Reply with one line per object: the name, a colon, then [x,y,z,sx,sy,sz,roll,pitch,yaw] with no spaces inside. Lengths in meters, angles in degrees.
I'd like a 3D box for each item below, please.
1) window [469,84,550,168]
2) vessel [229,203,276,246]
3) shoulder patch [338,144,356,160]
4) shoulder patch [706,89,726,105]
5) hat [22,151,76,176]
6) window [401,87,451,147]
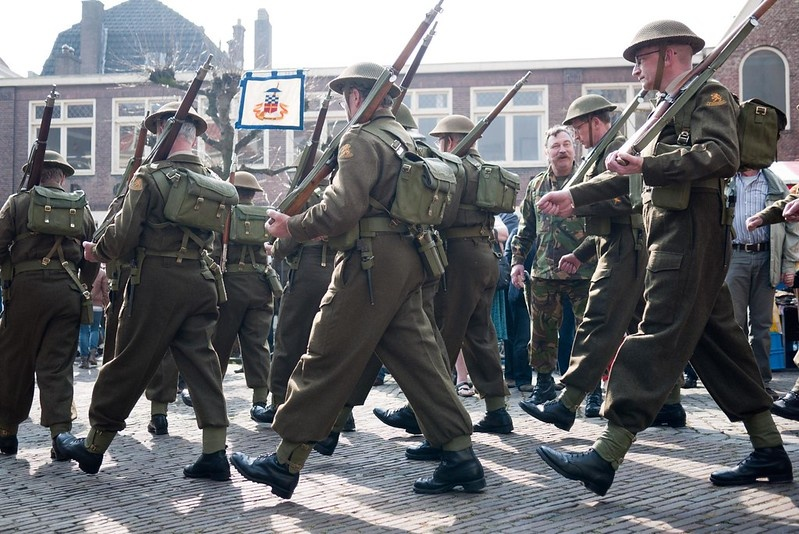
window: [3.186,-4.063,27.053,2.953,2.432,0.191,-7,11,-28]
vessel: [-1.448,-0.470,10.072,0.561,0.458,0.375,7,-3,35]
shoulder patch: [-0.403,-0.885,7.128,0.127,0.106,0.043,-20,-8,24]
shoulder patch: [2.403,-1.276,7.003,0.154,0.109,0.010,-1,-10,12]
hat: [-3.342,-0.998,9.003,0.433,0.161,0.407,-1,-1,18]
window: [1.039,-4.200,27.470,0.836,1.053,1.163,28,-1,-38]
